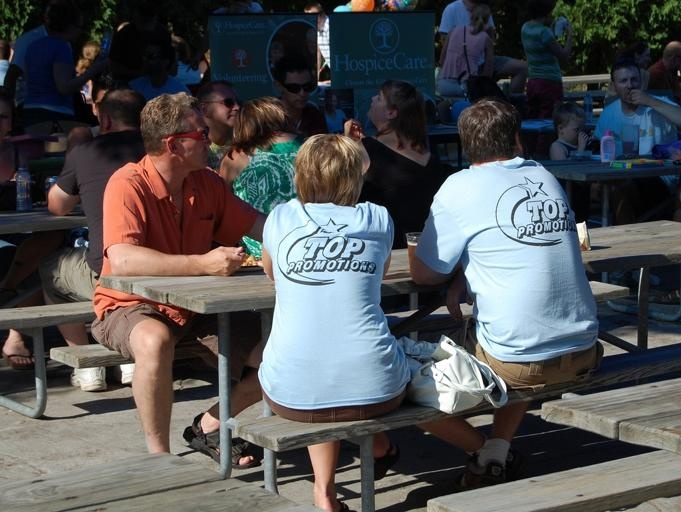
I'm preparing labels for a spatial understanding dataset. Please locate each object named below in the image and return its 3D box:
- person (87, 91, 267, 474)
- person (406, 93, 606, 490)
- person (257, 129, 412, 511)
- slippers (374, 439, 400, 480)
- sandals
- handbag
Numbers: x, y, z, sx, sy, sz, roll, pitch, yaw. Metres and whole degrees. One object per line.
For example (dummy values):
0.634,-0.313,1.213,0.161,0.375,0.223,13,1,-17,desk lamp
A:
-0.805,0.145,4.987,0.753,1.958,0.928,5,9,42,person
0.789,0.197,4.656,0.899,1.890,0.365,1,7,11,person
-0.043,0.345,4.301,0.637,1.760,0.427,1,7,16,person
0.252,1.071,5.099,0.077,0.213,0.082,38,-4,47,slippers
-0.664,1.016,5.280,0.541,0.166,0.195,15,30,27,sandals
0.480,0.549,4.418,0.503,0.170,0.338,18,4,-37,handbag
